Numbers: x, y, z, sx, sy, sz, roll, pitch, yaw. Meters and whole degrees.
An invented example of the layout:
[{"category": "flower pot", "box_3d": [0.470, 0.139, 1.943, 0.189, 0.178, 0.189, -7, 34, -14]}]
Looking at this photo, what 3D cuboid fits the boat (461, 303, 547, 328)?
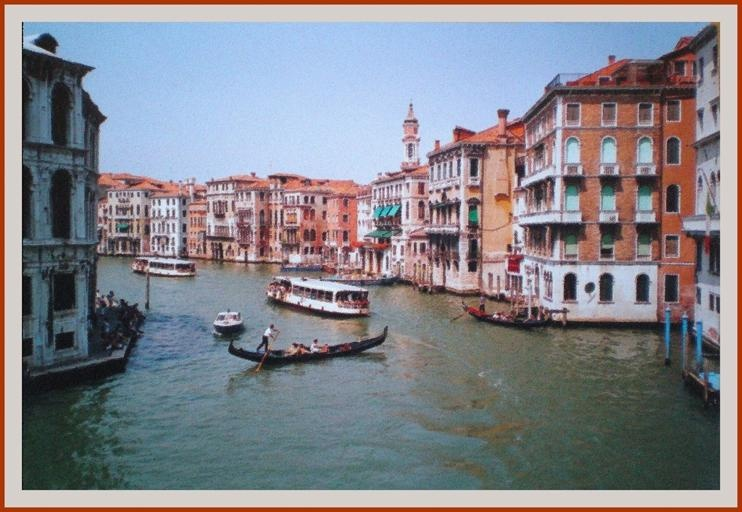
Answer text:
[{"category": "boat", "box_3d": [8.679, 4.461, 51.281, 1.768, 1.657, 8.436, 2, -1, -36]}]
